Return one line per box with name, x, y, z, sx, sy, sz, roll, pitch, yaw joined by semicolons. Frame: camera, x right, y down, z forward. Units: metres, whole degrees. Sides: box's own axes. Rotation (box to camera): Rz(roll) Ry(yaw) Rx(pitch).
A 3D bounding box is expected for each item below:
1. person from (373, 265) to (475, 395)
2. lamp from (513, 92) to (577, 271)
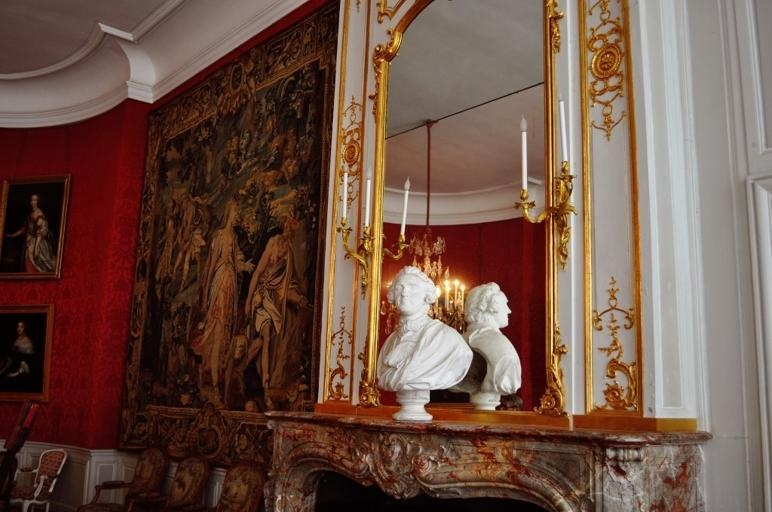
person;0.391;0.699;7.065;0.417;0.917;0.801;23;-31;-31
lamp;1.410;-0.636;6.851;0.544;1.495;0.276;-13;-18;43
